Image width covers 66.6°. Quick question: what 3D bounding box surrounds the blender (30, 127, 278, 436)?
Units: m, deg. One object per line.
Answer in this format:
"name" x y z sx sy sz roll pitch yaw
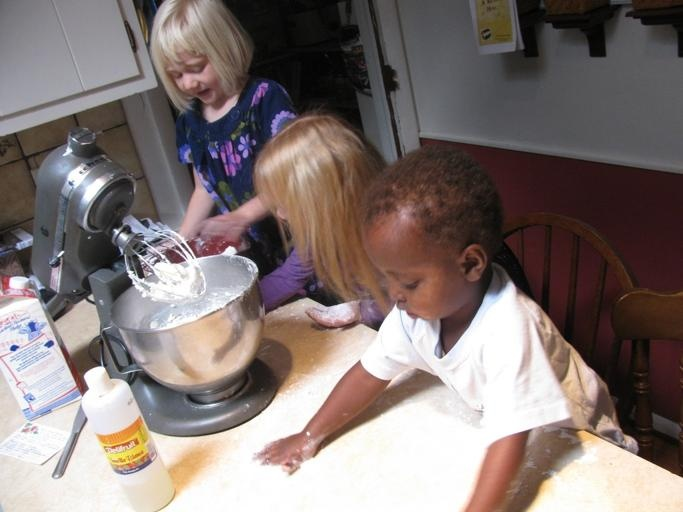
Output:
"blender" -0.504 0.043 1.255 0.623 0.668 0.354 7 29 21
